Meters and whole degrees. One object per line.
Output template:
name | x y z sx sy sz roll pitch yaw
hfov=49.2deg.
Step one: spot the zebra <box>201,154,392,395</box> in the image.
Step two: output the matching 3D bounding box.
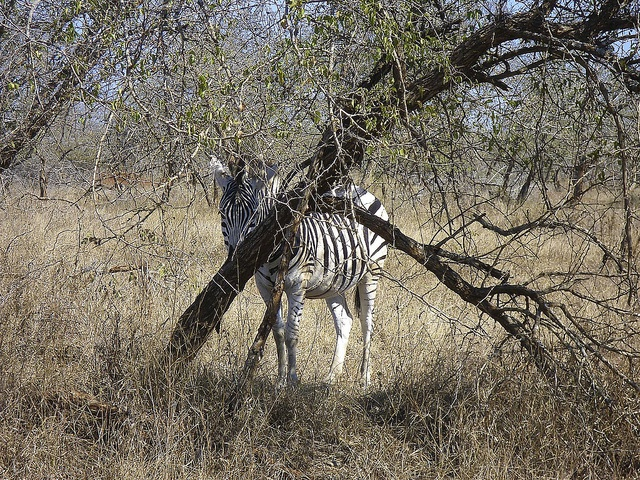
zebra | -0.132 0.454 7.167 0.679 2.202 2.674 1 -3 35
